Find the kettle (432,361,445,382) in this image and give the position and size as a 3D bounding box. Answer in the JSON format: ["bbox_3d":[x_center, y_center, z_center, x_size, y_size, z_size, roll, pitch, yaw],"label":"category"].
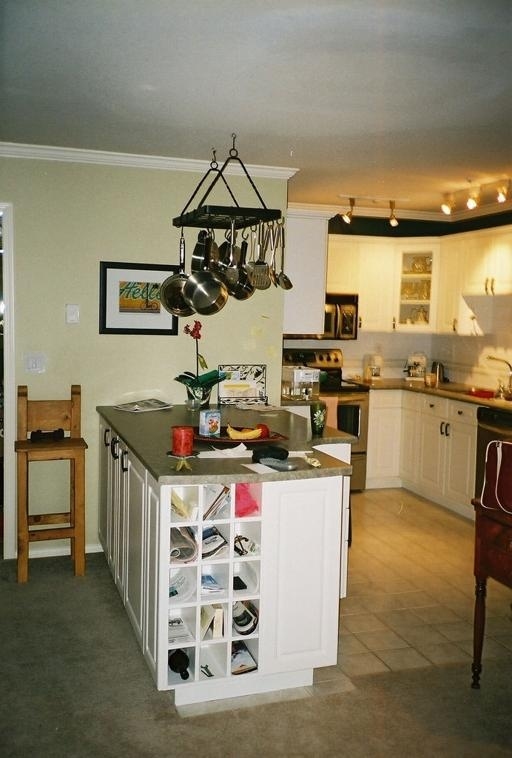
[{"bbox_3d":[1.778,-0.073,6.103,0.131,0.208,0.191,7,14,38],"label":"kettle"}]

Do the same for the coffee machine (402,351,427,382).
[{"bbox_3d":[1.602,-0.120,6.241,0.237,0.331,0.265,0,-2,2],"label":"coffee machine"}]

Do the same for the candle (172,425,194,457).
[{"bbox_3d":[-0.279,0.244,2.414,0.100,0.119,0.103,3,3,5],"label":"candle"}]

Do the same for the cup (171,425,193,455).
[{"bbox_3d":[-0.280,0.249,2.390,0.096,0.119,0.088,2,1,0],"label":"cup"}]

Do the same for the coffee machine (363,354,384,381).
[{"bbox_3d":[1.165,-0.112,6.153,0.166,0.259,0.242,2,1,3],"label":"coffee machine"}]

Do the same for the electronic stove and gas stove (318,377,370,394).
[{"bbox_3d":[0.761,0.073,5.448,0.241,0.061,0.255,-4,12,-25],"label":"electronic stove and gas stove"}]

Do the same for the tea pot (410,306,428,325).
[{"bbox_3d":[1.561,-0.603,5.841,0.080,0.149,0.147,-10,16,-37],"label":"tea pot"}]

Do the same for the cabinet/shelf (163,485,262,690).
[{"bbox_3d":[-0.161,0.728,2.271,0.335,0.724,0.338,1,1,-10],"label":"cabinet/shelf"}]

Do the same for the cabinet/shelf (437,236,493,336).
[{"bbox_3d":[1.934,-0.770,5.435,0.381,0.783,0.375,7,15,-1],"label":"cabinet/shelf"}]

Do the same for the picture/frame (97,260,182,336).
[{"bbox_3d":[-0.746,-0.510,3.776,0.464,0.488,0.034,-2,7,-25],"label":"picture/frame"}]

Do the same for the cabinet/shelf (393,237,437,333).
[{"bbox_3d":[1.527,-0.793,5.931,0.434,0.869,0.346,1,-19,19],"label":"cabinet/shelf"}]

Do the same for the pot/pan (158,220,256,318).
[{"bbox_3d":[-0.238,-0.439,2.681,0.354,0.465,0.117,-8,11,-36],"label":"pot/pan"}]

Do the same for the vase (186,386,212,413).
[{"bbox_3d":[-0.334,0.120,3.575,0.131,0.122,0.147,1,1,0],"label":"vase"}]

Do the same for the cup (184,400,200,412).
[{"bbox_3d":[-0.374,0.148,3.564,0.082,0.102,0.063,0,3,-5],"label":"cup"}]

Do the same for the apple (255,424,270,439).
[{"bbox_3d":[0.028,0.247,2.890,0.057,0.061,0.056,3,9,28],"label":"apple"}]

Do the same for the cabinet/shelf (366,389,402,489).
[{"bbox_3d":[1.192,0.511,5.702,0.388,0.815,0.112,1,2,-26],"label":"cabinet/shelf"}]

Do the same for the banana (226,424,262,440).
[{"bbox_3d":[-0.057,0.252,2.882,0.154,0.056,0.211,2,1,-9],"label":"banana"}]

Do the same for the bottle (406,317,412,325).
[{"bbox_3d":[1.467,-0.550,5.865,0.046,0.091,0.048,1,-7,0],"label":"bottle"}]

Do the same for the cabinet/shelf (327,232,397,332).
[{"bbox_3d":[0.973,-0.922,5.758,0.918,0.932,0.457,0,1,-13],"label":"cabinet/shelf"}]

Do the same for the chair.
[{"bbox_3d":[-1.211,0.587,3.634,0.398,1.087,0.547,1,1,-19],"label":"chair"}]

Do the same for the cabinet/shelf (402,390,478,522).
[{"bbox_3d":[1.739,0.570,5.329,0.469,0.923,1.041,-2,6,-21],"label":"cabinet/shelf"}]

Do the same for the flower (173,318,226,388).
[{"bbox_3d":[-0.383,-0.174,3.990,0.373,0.474,0.301,6,12,40],"label":"flower"}]

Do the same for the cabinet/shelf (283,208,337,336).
[{"bbox_3d":[0.358,-0.754,4.493,0.343,0.835,0.183,1,1,-12],"label":"cabinet/shelf"}]

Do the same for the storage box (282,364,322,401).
[{"bbox_3d":[0.354,-0.062,4.681,0.210,0.292,0.395,-3,9,-15],"label":"storage box"}]
